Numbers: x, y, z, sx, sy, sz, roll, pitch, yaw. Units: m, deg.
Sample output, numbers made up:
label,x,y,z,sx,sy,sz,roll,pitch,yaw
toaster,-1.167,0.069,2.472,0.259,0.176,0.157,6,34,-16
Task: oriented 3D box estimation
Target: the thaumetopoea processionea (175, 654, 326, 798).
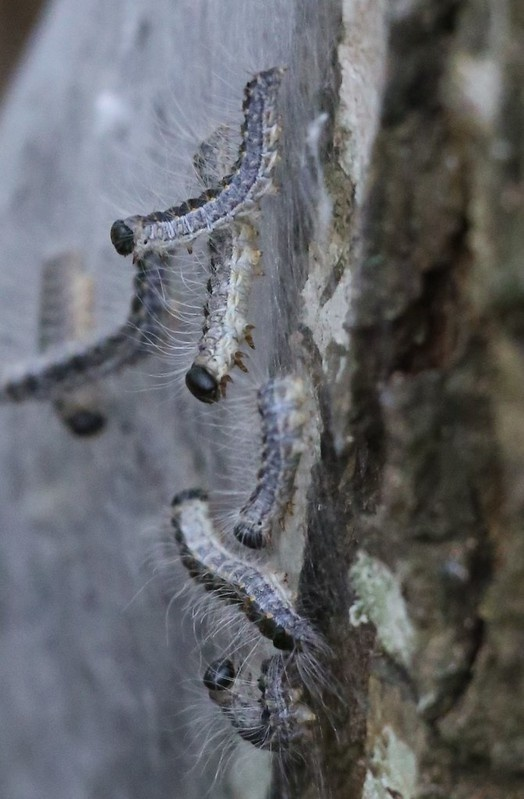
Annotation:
label,x,y,z,sx,sy,sz,roll,pitch,yaw
thaumetopoea processionea,-0.030,0.849,3.841,0.123,0.253,0.392,-32,93,-43
